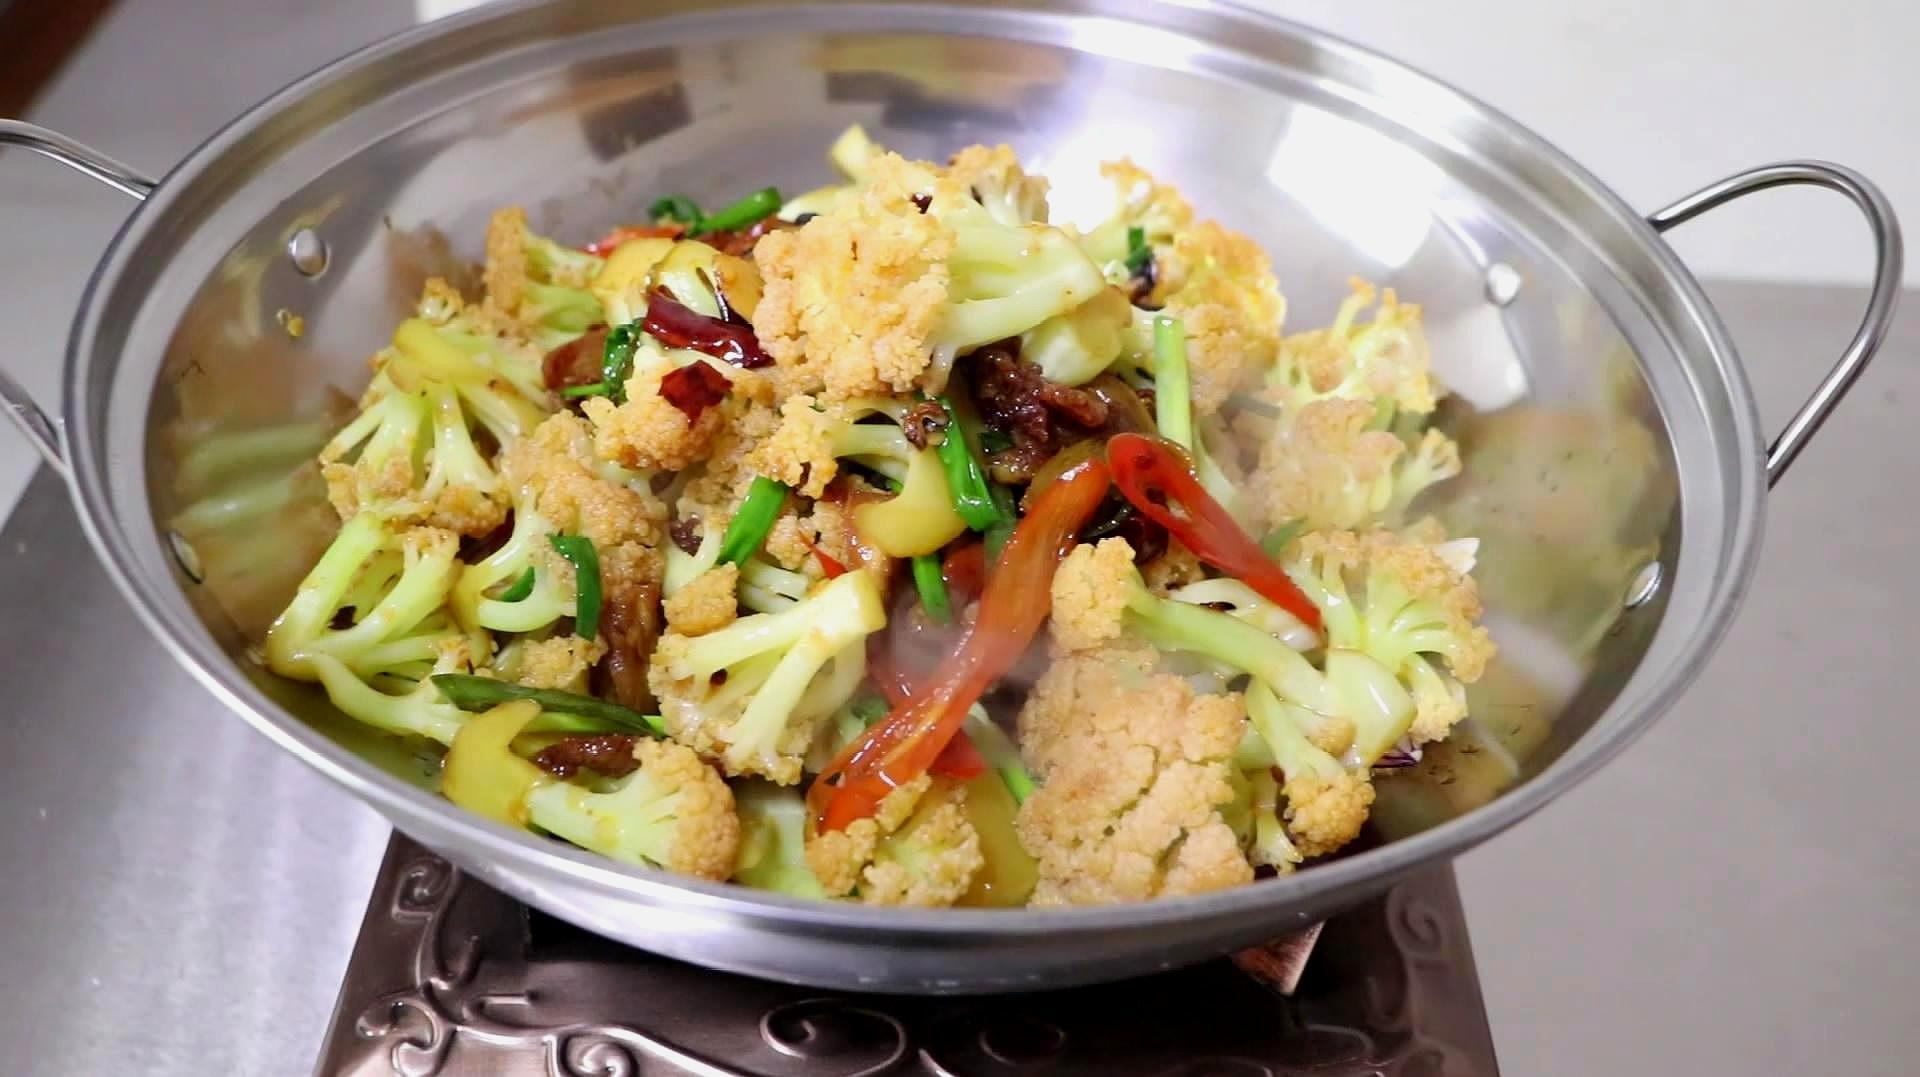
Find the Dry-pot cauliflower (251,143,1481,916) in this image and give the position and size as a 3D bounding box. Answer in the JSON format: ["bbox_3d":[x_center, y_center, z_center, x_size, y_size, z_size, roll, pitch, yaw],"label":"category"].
[{"bbox_3d":[-0.104,-0.036,2.899,2.149,0.766,1.235,1,50,-1],"label":"Dry-pot cauliflower"}]
